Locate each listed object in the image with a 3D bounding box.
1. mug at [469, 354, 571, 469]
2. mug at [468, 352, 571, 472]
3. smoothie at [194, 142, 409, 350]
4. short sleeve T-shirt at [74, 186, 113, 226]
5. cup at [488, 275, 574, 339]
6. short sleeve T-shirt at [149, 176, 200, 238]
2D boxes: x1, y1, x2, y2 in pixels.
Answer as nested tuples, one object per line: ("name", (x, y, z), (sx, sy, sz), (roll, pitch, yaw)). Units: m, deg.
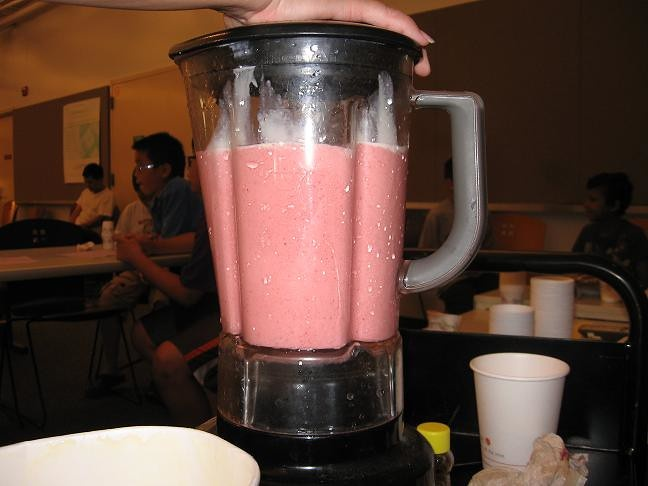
("mug", (0.249, 0.198, 0.752), (0.129, 0.140, 0.130), (1, 3, -21))
("mug", (0.236, 0.209, 0.768), (0.128, 0.140, 0.129), (0, 3, -18))
("smoothie", (-0.028, 0.002, 0.718), (0.255, 0.238, 0.222), (0, -4, 3))
("short sleeve T-shirt", (-1.888, -0.299, 4.666), (0.287, 0.291, 0.161), (22, 10, 30))
("cup", (0.342, 0.099, 0.925), (0.142, 0.148, 0.081), (2, -1, 21))
("short sleeve T-shirt", (-0.777, -0.177, 3.092), (0.290, 0.395, 0.497), (-1, 2, -11))
